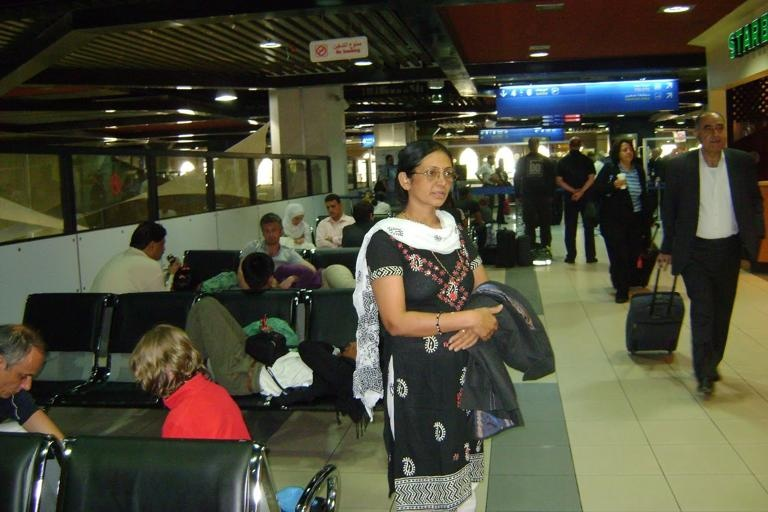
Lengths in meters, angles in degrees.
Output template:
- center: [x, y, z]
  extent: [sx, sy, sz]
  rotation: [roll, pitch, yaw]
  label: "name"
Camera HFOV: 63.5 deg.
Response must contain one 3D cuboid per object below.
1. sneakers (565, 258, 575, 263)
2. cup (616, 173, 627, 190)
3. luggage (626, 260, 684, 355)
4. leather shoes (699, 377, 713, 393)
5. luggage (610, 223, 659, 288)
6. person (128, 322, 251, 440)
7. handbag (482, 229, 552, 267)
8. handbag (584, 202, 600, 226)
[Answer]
- center: [3.162, 0.073, 10.497]
  extent: [0.170, 0.085, 0.089]
  rotation: [4, 1, -1]
  label: "sneakers"
- center: [2.830, -0.889, 7.468]
  extent: [0.115, 0.174, 0.185]
  rotation: [-2, -5, 3]
  label: "cup"
- center: [2.591, 0.426, 5.850]
  extent: [0.491, 0.996, 0.354]
  rotation: [1, 23, 3]
  label: "luggage"
- center: [2.601, 1.050, 5.000]
  extent: [0.059, 0.116, 0.169]
  rotation: [-5, -25, 13]
  label: "leather shoes"
- center: [3.111, -0.015, 7.729]
  extent: [0.629, 1.049, 0.654]
  rotation: [1, 15, 12]
  label: "luggage"
- center: [-1.002, 0.769, 3.171]
  extent: [0.555, 0.780, 0.575]
  rotation: [-1, 22, -15]
  label: "person"
- center: [2.214, -0.153, 10.482]
  extent: [0.969, 0.326, 0.672]
  rotation: [1, 5, 7]
  label: "handbag"
- center: [3.299, -0.673, 9.829]
  extent: [0.178, 0.482, 0.365]
  rotation: [3, 10, 13]
  label: "handbag"
